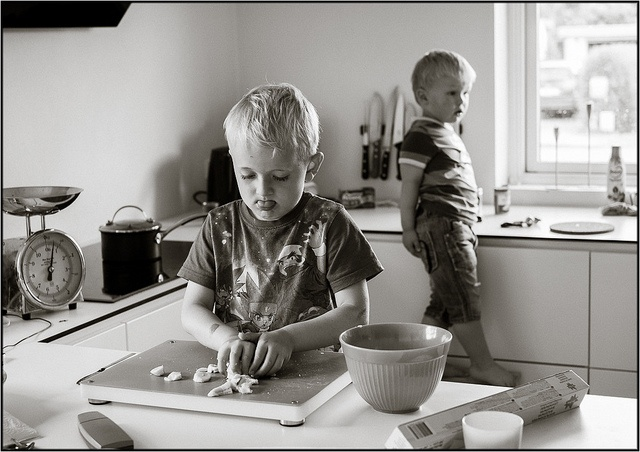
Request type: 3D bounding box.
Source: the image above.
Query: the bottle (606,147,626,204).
[{"bbox_3d":[1.554,-0.270,2.910,0.096,0.286,0.162,6,14,27],"label":"bottle"}]

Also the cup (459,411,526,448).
[{"bbox_3d":[0.267,0.298,0.860,0.060,0.054,0.067,-1,-6,1],"label":"cup"}]

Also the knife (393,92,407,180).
[{"bbox_3d":[0.454,-0.583,3.220,0.081,0.649,0.032,5,14,27],"label":"knife"}]

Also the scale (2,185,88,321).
[{"bbox_3d":[-0.888,0.079,1.783,0.233,0.402,0.254,7,15,31],"label":"scale"}]

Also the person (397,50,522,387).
[{"bbox_3d":[0.648,-0.041,2.553,0.584,1.492,0.396,5,14,22],"label":"person"}]

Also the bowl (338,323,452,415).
[{"bbox_3d":[0.142,0.250,1.045,0.159,0.110,0.172,-1,-6,0],"label":"bowl"}]
